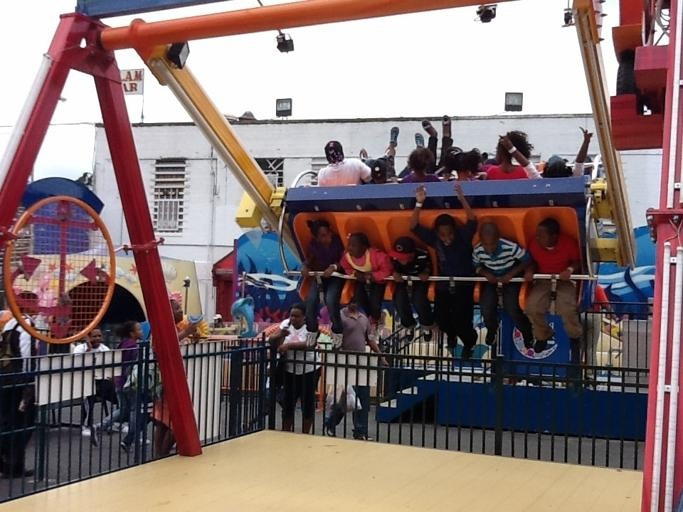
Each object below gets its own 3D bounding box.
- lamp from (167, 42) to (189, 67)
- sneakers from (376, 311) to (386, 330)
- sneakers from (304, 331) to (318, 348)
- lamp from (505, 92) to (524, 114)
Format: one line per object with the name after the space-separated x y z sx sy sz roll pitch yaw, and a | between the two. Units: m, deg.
-1.828 -2.278 9.697 0.270 0.285 0.253 -5 10 -34 | lamp
0.529 0.797 11.316 0.142 0.186 0.147 -6 -45 11 | sneakers
-0.403 1.088 11.485 0.138 0.164 0.226 14 -44 -29 | sneakers
5.557 -5.002 27.798 0.513 0.582 0.273 3 8 18 | lamp
